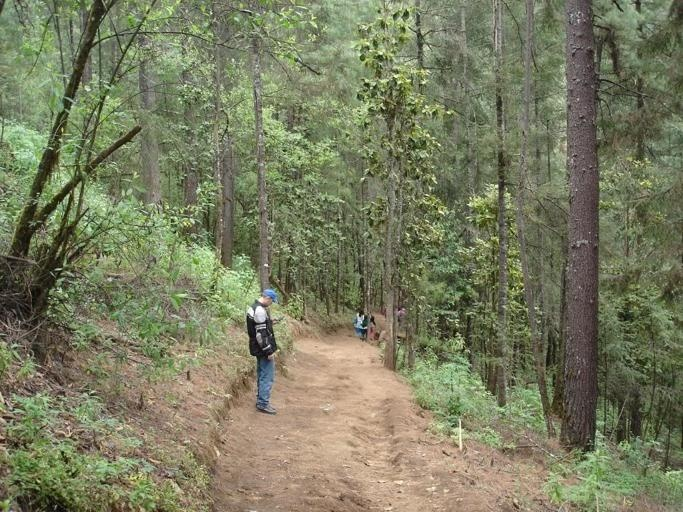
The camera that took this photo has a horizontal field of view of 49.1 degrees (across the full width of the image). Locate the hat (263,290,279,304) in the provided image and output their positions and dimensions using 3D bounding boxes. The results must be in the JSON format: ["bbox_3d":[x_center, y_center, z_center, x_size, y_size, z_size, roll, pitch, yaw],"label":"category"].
[{"bbox_3d":[-1.638,0.907,17.299,0.228,0.228,0.340,35,3,29],"label":"hat"}]

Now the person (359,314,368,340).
[{"bbox_3d":[0.971,3.112,32.565,0.353,1.028,1.110,3,-2,2],"label":"person"}]
